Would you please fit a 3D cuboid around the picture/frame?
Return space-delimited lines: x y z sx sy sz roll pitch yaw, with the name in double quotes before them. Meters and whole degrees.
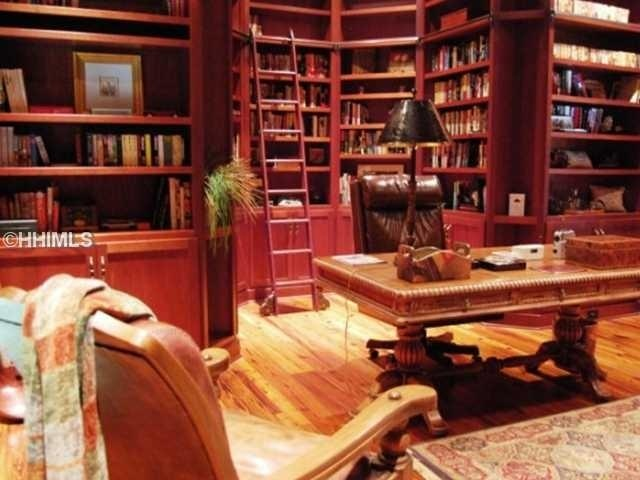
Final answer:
"picture/frame" -1.436 -1.035 3.453 0.499 0.495 0.055 1 -2 -11
